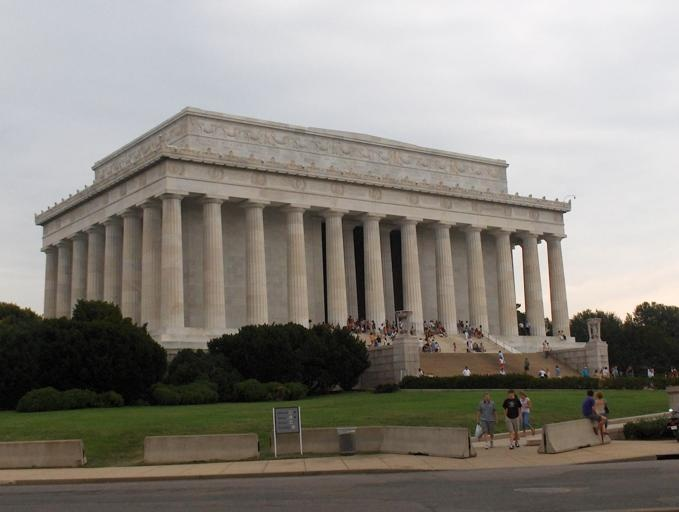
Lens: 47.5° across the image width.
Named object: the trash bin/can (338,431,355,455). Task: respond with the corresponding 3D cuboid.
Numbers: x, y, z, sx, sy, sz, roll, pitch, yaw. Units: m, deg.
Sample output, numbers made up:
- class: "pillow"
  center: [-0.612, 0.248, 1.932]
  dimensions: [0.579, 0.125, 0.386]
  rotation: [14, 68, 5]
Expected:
- class: "trash bin/can"
  center: [0.193, 6.320, 26.219]
  dimensions: [0.682, 0.828, 0.682]
  rotation: [0, -2, 7]
